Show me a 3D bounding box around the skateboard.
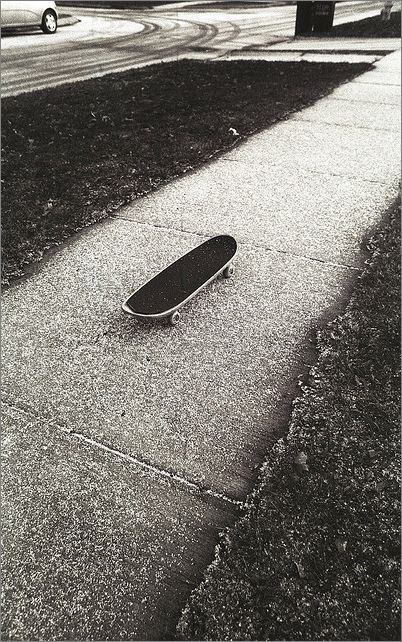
[{"bbox_3d":[-0.061,-0.349,3.758,0.321,0.230,1.268,22,48,23],"label":"skateboard"}]
